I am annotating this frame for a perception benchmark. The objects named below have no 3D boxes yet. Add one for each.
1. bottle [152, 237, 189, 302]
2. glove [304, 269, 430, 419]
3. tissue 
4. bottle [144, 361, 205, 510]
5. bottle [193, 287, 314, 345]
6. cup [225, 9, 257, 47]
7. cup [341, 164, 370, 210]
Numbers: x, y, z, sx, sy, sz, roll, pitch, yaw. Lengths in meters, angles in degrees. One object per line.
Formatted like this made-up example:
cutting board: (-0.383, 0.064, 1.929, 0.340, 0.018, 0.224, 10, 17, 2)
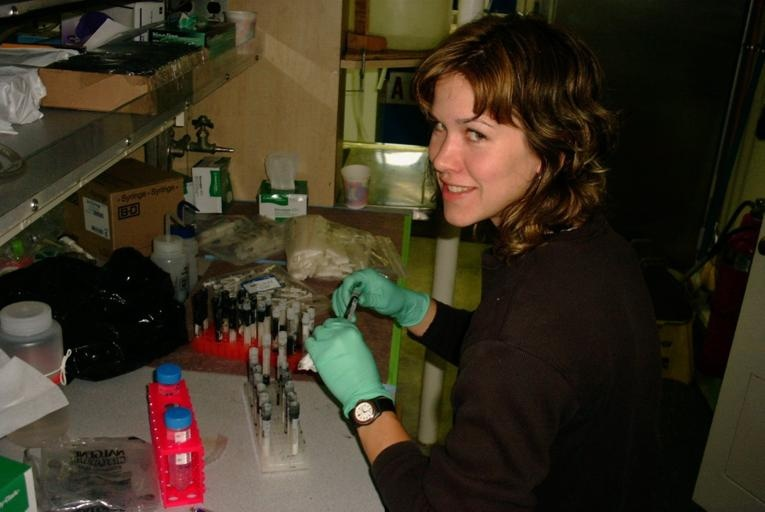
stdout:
bottle: (-0.786, 0.053, 2.425, 0.118, 0.272, 0.120, 3, 32, -2)
glove: (-0.079, 0.253, 1.896, 0.397, 0.175, 0.470, 16, 34, 31)
tissue : (-0.468, -0.313, 3.078, 0.223, 0.355, 0.209, -1, 35, -12)
bottle: (-0.569, 0.504, 1.773, 0.087, 0.199, 0.290, -6, 38, -15)
bottle: (-0.482, 0.190, 2.294, 0.315, 0.099, 0.227, 0, 22, -1)
cup: (-0.618, -0.982, 2.766, 0.187, 0.069, 0.114, 36, 44, 30)
cup: (-0.135, -0.324, 3.211, 0.143, 0.158, 0.149, 1, 19, 0)
